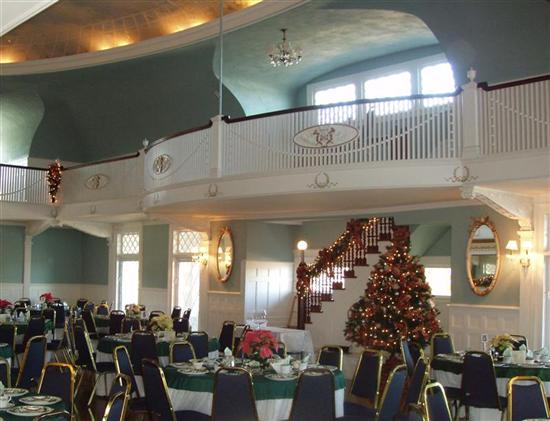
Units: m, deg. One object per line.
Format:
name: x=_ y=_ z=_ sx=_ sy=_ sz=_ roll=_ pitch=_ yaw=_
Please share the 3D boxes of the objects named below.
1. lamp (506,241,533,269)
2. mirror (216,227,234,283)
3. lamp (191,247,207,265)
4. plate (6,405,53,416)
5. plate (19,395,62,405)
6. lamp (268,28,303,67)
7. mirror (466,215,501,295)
lamp: x=4.352 y=0.786 z=9.102 sx=0.490 sy=0.702 sz=0.308 roll=2 pitch=-5 yaw=11
mirror: x=-1.294 y=1.145 z=12.965 sx=0.225 sy=1.384 sz=0.714 roll=7 pitch=-10 yaw=-33
lamp: x=-2.059 y=1.236 z=13.860 sx=0.261 sy=0.414 sz=0.491 roll=12 pitch=-13 yaw=-42
plate: x=-2.220 y=1.816 z=4.612 sx=0.397 sy=0.043 sz=0.284 roll=-1 pitch=-10 yaw=17
plate: x=-2.251 y=1.828 z=4.893 sx=0.375 sy=0.046 sz=0.264 roll=-3 pitch=-11 yaw=30
lamp: x=0.216 y=-3.965 z=12.152 sx=0.592 sy=0.654 sz=0.866 roll=-12 pitch=-40 yaw=-10
mirror: x=3.877 y=0.855 z=9.550 sx=0.593 sy=1.441 sz=0.212 roll=-2 pitch=-8 yaw=24
